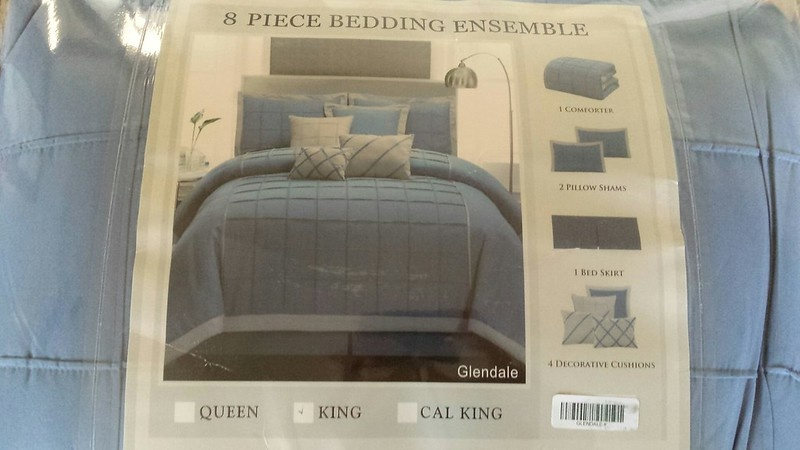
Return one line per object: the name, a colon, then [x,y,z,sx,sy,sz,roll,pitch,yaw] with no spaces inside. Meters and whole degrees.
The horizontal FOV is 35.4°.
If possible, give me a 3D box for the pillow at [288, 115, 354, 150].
pillow: [-0.132,-0.143,2.057,0.118,0.041,0.076,-4,70,38]
